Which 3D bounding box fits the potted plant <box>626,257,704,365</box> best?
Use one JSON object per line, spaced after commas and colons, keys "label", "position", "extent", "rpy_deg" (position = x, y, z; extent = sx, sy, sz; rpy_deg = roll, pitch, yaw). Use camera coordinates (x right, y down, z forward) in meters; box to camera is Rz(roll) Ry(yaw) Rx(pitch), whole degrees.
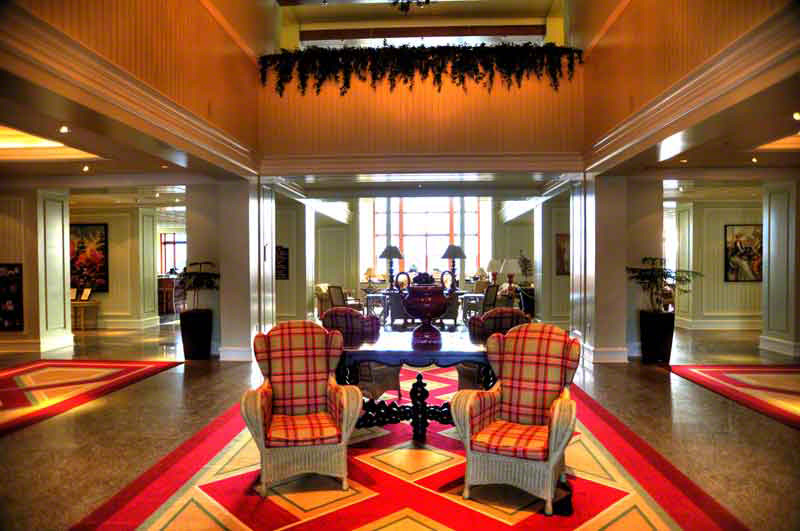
{"label": "potted plant", "position": [4.434, 0.734, 10.177], "extent": [0.933, 1.674, 1.784], "rpy_deg": [7, 15, 28]}

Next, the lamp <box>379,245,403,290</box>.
{"label": "lamp", "position": [-0.195, 0.011, 11.617], "extent": [0.457, 0.748, 0.423], "rpy_deg": [-1, -13, 10]}

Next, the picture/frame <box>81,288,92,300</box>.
{"label": "picture/frame", "position": [-7.171, 0.662, 13.455], "extent": [0.179, 0.253, 0.075], "rpy_deg": [-2, -15, 6]}

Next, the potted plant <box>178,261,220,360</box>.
{"label": "potted plant", "position": [-3.561, 0.762, 10.410], "extent": [0.698, 1.614, 0.697], "rpy_deg": [4, -7, -37]}

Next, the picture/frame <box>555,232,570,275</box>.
{"label": "picture/frame", "position": [3.524, -0.236, 12.852], "extent": [0.299, 0.909, 0.153], "rpy_deg": [-3, 13, -11]}

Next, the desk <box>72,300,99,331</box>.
{"label": "desk", "position": [-7.334, 1.171, 13.489], "extent": [0.776, 0.644, 0.674], "rpy_deg": [0, -4, -1]}

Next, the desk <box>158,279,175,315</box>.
{"label": "desk", "position": [-6.274, 0.850, 15.829], "extent": [0.441, 1.030, 0.343], "rpy_deg": [-4, 14, -18]}

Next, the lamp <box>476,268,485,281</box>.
{"label": "lamp", "position": [2.556, 0.265, 18.594], "extent": [0.327, 0.569, 0.328], "rpy_deg": [1, -3, 3]}

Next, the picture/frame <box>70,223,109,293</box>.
{"label": "picture/frame", "position": [-7.190, -0.160, 13.660], "extent": [0.838, 1.578, 0.528], "rpy_deg": [-2, 13, -8]}

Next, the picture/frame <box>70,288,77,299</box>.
{"label": "picture/frame", "position": [-7.425, 0.645, 13.377], "extent": [0.107, 0.217, 0.263], "rpy_deg": [-5, 14, -22]}
